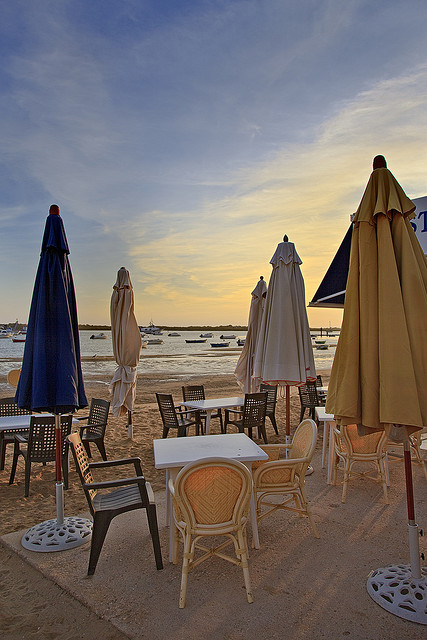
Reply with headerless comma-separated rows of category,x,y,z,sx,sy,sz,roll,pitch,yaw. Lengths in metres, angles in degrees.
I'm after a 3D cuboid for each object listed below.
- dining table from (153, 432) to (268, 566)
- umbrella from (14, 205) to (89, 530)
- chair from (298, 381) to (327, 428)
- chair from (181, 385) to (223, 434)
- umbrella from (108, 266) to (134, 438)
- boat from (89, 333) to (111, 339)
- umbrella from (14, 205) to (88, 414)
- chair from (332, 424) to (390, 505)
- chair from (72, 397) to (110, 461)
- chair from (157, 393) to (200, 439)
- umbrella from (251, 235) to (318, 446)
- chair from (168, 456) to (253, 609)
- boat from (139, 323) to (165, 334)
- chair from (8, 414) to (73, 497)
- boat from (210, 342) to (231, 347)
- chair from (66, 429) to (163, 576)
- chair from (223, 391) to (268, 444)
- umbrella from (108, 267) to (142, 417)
dining table,-0.061,1.550,4.046,1.032,1.025,1.057,-1,-2,-9
umbrella,-1.398,0.412,3.785,0.579,2.105,0.516,-1,0,-26
chair,2.124,1.773,9.385,0.573,0.915,0.651,0,0,33
chair,-0.221,1.787,8.505,0.623,1.013,0.686,-2,-5,-28
umbrella,-1.766,0.588,8.437,0.461,2.610,0.541,-1,0,-14
boat,-36.031,5.520,139.062,3.195,1.658,4.554,2,1,7
umbrella,-1.426,-0.120,3.809,0.575,1.360,0.567,-1,-1,-25
chair,1.747,1.688,4.972,0.557,0.628,0.966,-17,30,34
chair,-1.963,1.730,6.631,0.604,0.942,0.641,4,-4,-39
chair,-0.625,1.798,7.877,0.673,0.936,0.652,-1,-1,-34
umbrella,0.870,-0.132,5.337,0.726,2.200,0.623,-1,-1,-39
chair,-0.013,1.396,3.012,0.539,0.886,0.334,-1,0,-7
boat,-26.027,3.939,178.902,4.454,3.642,14.227,-1,-1,6
chair,-2.177,1.686,5.561,0.707,0.735,1.234,-1,-1,-30
boat,1.277,5.754,95.213,3.696,0.721,6.774,-1,-1,-3
chair,-0.809,1.477,3.670,0.673,1.003,0.673,-2,-4,-13
chair,0.602,1.754,7.771,0.640,1.012,0.710,-2,0,-37
umbrella,-1.719,0.460,8.482,0.604,2.332,0.616,-1,0,-12
